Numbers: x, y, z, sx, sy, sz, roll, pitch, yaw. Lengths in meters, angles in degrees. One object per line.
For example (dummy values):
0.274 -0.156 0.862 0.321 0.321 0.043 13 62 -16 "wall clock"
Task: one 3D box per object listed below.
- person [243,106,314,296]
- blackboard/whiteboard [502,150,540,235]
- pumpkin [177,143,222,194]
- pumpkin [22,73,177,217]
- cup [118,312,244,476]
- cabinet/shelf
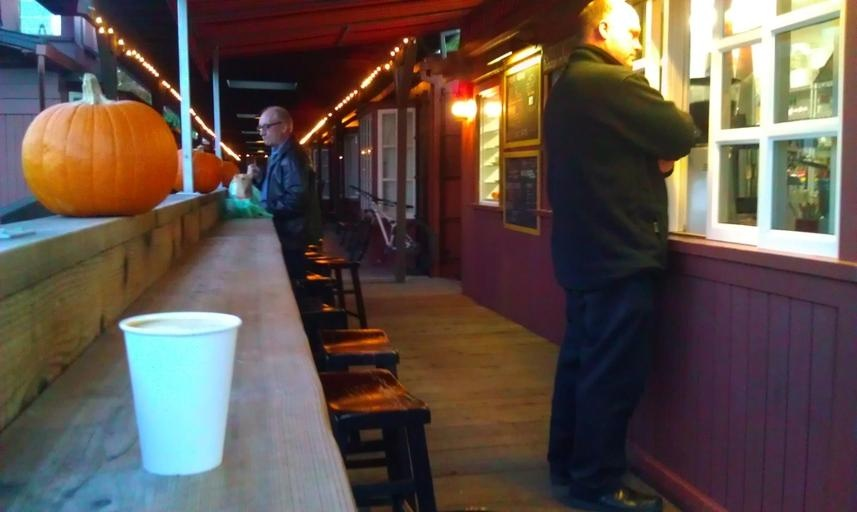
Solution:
-1.163 -0.551 5.457 0.445 1.426 0.707 -6 11 -26 "person"
0.948 -0.678 6.691 0.025 0.799 0.782 5 8 31 "blackboard/whiteboard"
-2.079 -0.780 5.781 0.463 0.452 0.470 1 4 -16 "pumpkin"
-1.466 -0.458 2.882 0.676 0.621 0.657 -5 6 -35 "pumpkin"
-0.581 0.321 1.694 0.341 0.407 0.348 1 5 0 "cup"
-0.627 -1.704 11.939 0.605 2.068 2.013 -2 11 -8 "cabinet/shelf"
